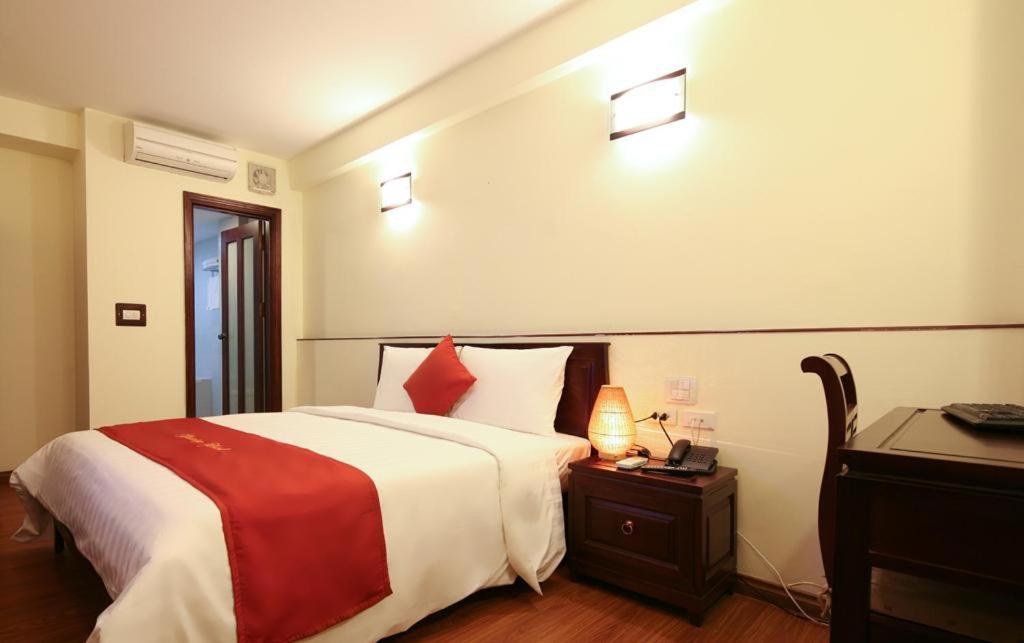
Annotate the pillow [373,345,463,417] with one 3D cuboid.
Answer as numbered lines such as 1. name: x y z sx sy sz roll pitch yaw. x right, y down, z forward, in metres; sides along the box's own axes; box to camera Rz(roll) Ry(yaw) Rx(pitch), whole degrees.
1. pillow: -0.657 0.412 4.581 0.167 0.533 0.556 19 9 -39

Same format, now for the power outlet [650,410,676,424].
1. power outlet: 0.924 0.578 3.908 0.115 0.080 0.029 4 -4 27

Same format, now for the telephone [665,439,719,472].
1. telephone: 1.014 0.759 3.601 0.192 0.060 0.202 -1 24 21

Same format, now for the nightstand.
1. nightstand: 0.780 1.067 3.885 1.190 0.968 0.703 -2 -5 40
